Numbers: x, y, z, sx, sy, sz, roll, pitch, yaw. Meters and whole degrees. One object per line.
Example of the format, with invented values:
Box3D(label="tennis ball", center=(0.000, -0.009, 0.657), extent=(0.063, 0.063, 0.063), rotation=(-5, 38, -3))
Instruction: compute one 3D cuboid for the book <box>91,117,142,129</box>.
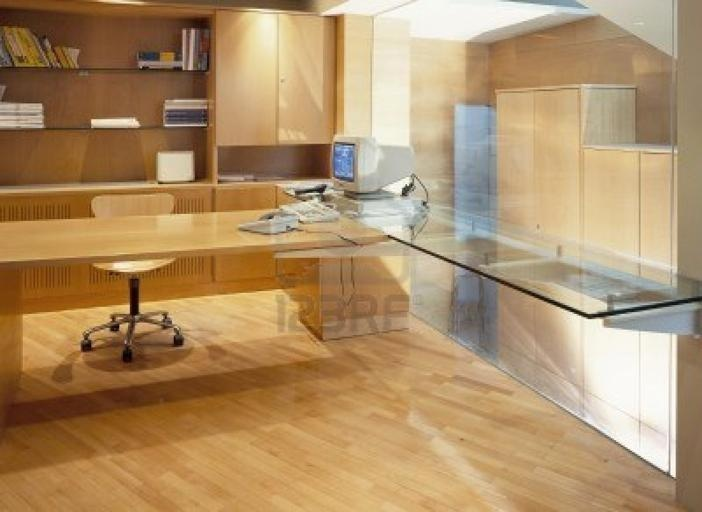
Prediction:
Box3D(label="book", center=(-2.267, -1.282, 5.424), extent=(0.417, 0.112, 0.364), rotation=(-6, 15, -14))

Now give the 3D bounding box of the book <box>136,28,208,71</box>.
Box3D(label="book", center=(-1.716, -1.948, 5.498), extent=(0.586, 0.271, 0.516), rotation=(-2, 11, -13))

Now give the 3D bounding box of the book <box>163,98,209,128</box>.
Box3D(label="book", center=(-1.605, -1.386, 5.472), extent=(0.391, 0.175, 0.334), rotation=(0, 11, -9))

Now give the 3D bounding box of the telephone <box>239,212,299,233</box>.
Box3D(label="telephone", center=(-0.493, -0.198, 3.489), extent=(0.243, 0.068, 0.170), rotation=(-7, 12, -30))

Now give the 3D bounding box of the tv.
Box3D(label="tv", center=(0.109, -0.724, 4.451), extent=(0.636, 0.355, 0.514), rotation=(-4, 11, -18))
